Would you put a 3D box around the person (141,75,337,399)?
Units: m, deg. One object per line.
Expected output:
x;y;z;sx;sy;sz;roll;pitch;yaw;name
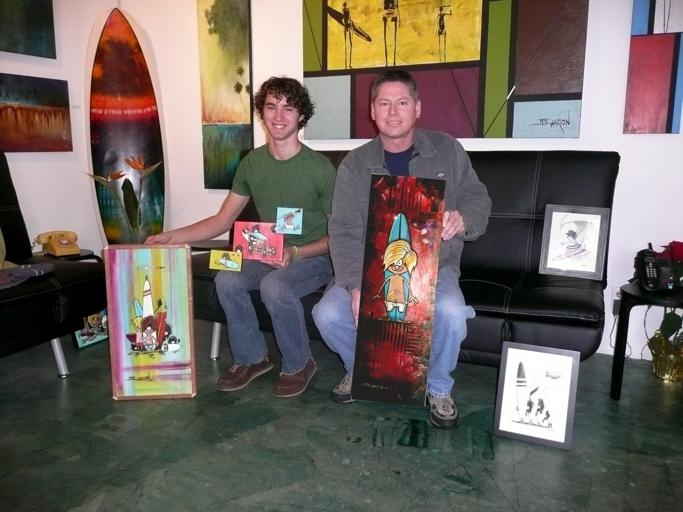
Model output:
-0.526;-0.087;2.609;1.087;1.651;0.971;2;9;9;person

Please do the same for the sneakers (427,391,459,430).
0.470;0.722;2.340;0.126;0.130;0.293;8;0;-5;sneakers

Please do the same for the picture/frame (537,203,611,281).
1.237;-0.065;2.624;0.359;0.457;0.033;6;-1;16;picture/frame

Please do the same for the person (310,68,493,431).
0.291;-0.066;2.376;0.779;1.614;0.676;4;12;17;person

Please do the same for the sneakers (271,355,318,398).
-0.240;0.625;2.549;0.099;0.108;0.263;2;15;23;sneakers

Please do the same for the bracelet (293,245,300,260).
-0.243;-0.005;2.603;0.043;0.068;0.026;-2;11;-11;bracelet

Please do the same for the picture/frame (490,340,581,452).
0.845;0.628;2.139;0.379;0.509;0.018;6;-3;18;picture/frame

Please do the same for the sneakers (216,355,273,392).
-0.510;0.637;2.620;0.277;0.120;0.107;-12;11;-44;sneakers

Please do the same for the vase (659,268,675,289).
1.564;0.120;2.371;0.066;0.084;0.096;8;13;34;vase

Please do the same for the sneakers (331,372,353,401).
0.004;0.669;2.418;0.063;0.080;0.164;0;-8;12;sneakers
